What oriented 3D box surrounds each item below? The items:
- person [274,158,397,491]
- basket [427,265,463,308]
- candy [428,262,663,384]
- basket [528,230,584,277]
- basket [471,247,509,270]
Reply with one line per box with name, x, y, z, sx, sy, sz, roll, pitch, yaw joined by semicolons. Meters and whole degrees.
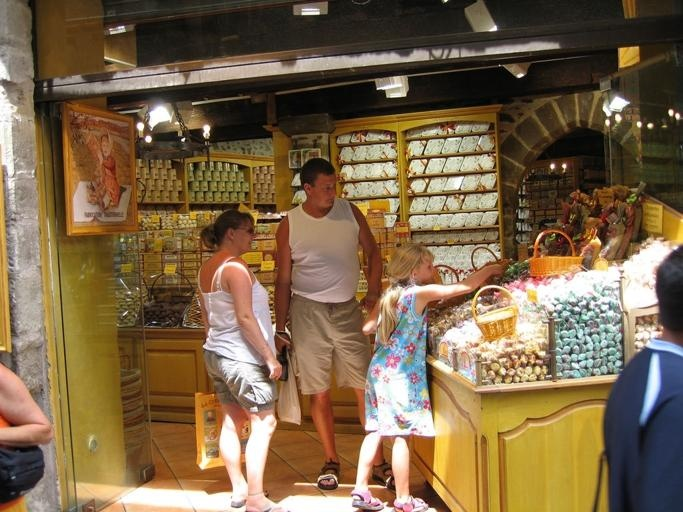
person;-0.078;0.449;4.049;0.711;2.231;0.565;-4;5;0
basket;0.693;0.201;3.962;0.205;0.247;0.093;0;-26;21
candy;1.094;0.382;3.371;1.059;0.579;0.800;-9;4;13
basket;1.215;0.010;3.353;0.227;0.308;0.305;1;5;21
basket;1.472;0.015;5.944;0.179;0.268;0.240;-5;-4;-1
